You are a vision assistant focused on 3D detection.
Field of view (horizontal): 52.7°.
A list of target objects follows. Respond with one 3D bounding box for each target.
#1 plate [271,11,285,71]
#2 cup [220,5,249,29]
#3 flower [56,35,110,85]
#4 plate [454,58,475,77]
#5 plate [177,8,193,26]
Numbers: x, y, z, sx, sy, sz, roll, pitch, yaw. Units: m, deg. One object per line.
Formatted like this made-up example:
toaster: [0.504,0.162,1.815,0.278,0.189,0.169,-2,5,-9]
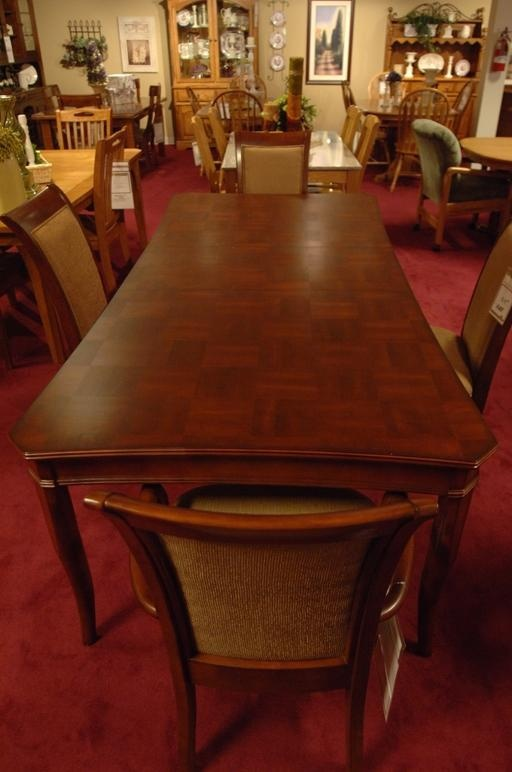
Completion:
plate: [0.265,-4.308,6.438,0.206,0.628,0.244,2,30,4]
cup: [-0.262,-4.340,6.093,0.266,0.286,0.201,-13,58,-6]
flower: [-2.161,-4.141,6.659,0.560,0.585,0.463,3,56,-2]
plate: [2.463,-3.804,6.202,0.212,0.239,0.037,-1,12,-2]
plate: [-0.832,-4.282,6.008,0.147,0.035,0.152,-29,66,-17]
